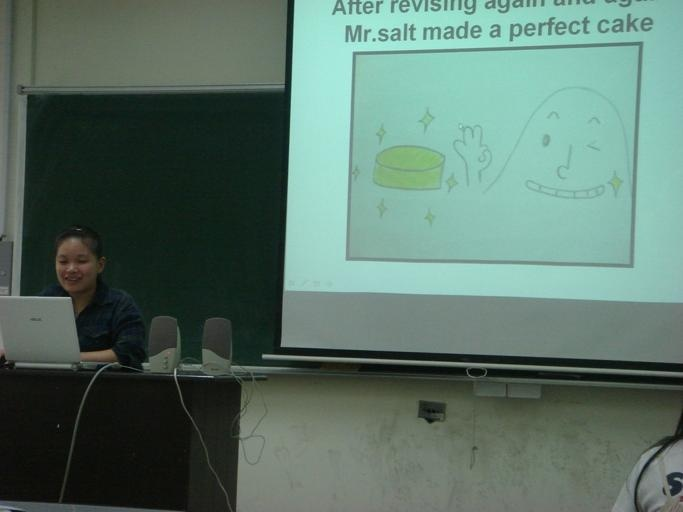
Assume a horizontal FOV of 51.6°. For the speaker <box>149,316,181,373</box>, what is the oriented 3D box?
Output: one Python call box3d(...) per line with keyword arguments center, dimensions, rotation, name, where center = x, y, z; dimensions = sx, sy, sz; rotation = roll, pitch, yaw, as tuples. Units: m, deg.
box3d(center=(-0.827, 0.408, 3.335), dimensions=(0.146, 0.254, 0.153), rotation=(4, 6, 22), name="speaker")
